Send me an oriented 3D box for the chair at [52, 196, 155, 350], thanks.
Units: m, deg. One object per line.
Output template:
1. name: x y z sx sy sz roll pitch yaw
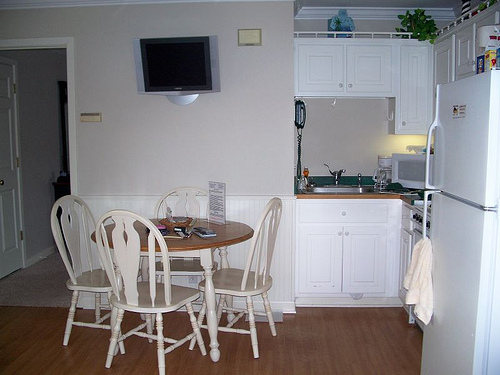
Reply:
1. chair: -1.243 0.675 3.264 0.636 1.200 0.530 2 6 14

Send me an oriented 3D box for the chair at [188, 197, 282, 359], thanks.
1. chair: -0.116 0.698 3.224 0.619 1.225 0.610 3 5 10

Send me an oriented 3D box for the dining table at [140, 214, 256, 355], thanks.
1. dining table: -0.546 0.604 3.241 0.962 0.786 1.008 1 5 27

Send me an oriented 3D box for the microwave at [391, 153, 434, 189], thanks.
1. microwave: 1.553 -0.147 3.873 0.441 0.312 0.282 6 -7 -2

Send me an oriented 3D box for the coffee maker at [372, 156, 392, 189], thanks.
1. coffee maker: 1.493 -0.191 4.331 0.179 0.294 0.185 -3 -7 40

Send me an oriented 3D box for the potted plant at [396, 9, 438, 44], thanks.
1. potted plant: 1.736 -1.655 4.009 0.368 0.357 0.306 5 12 26
